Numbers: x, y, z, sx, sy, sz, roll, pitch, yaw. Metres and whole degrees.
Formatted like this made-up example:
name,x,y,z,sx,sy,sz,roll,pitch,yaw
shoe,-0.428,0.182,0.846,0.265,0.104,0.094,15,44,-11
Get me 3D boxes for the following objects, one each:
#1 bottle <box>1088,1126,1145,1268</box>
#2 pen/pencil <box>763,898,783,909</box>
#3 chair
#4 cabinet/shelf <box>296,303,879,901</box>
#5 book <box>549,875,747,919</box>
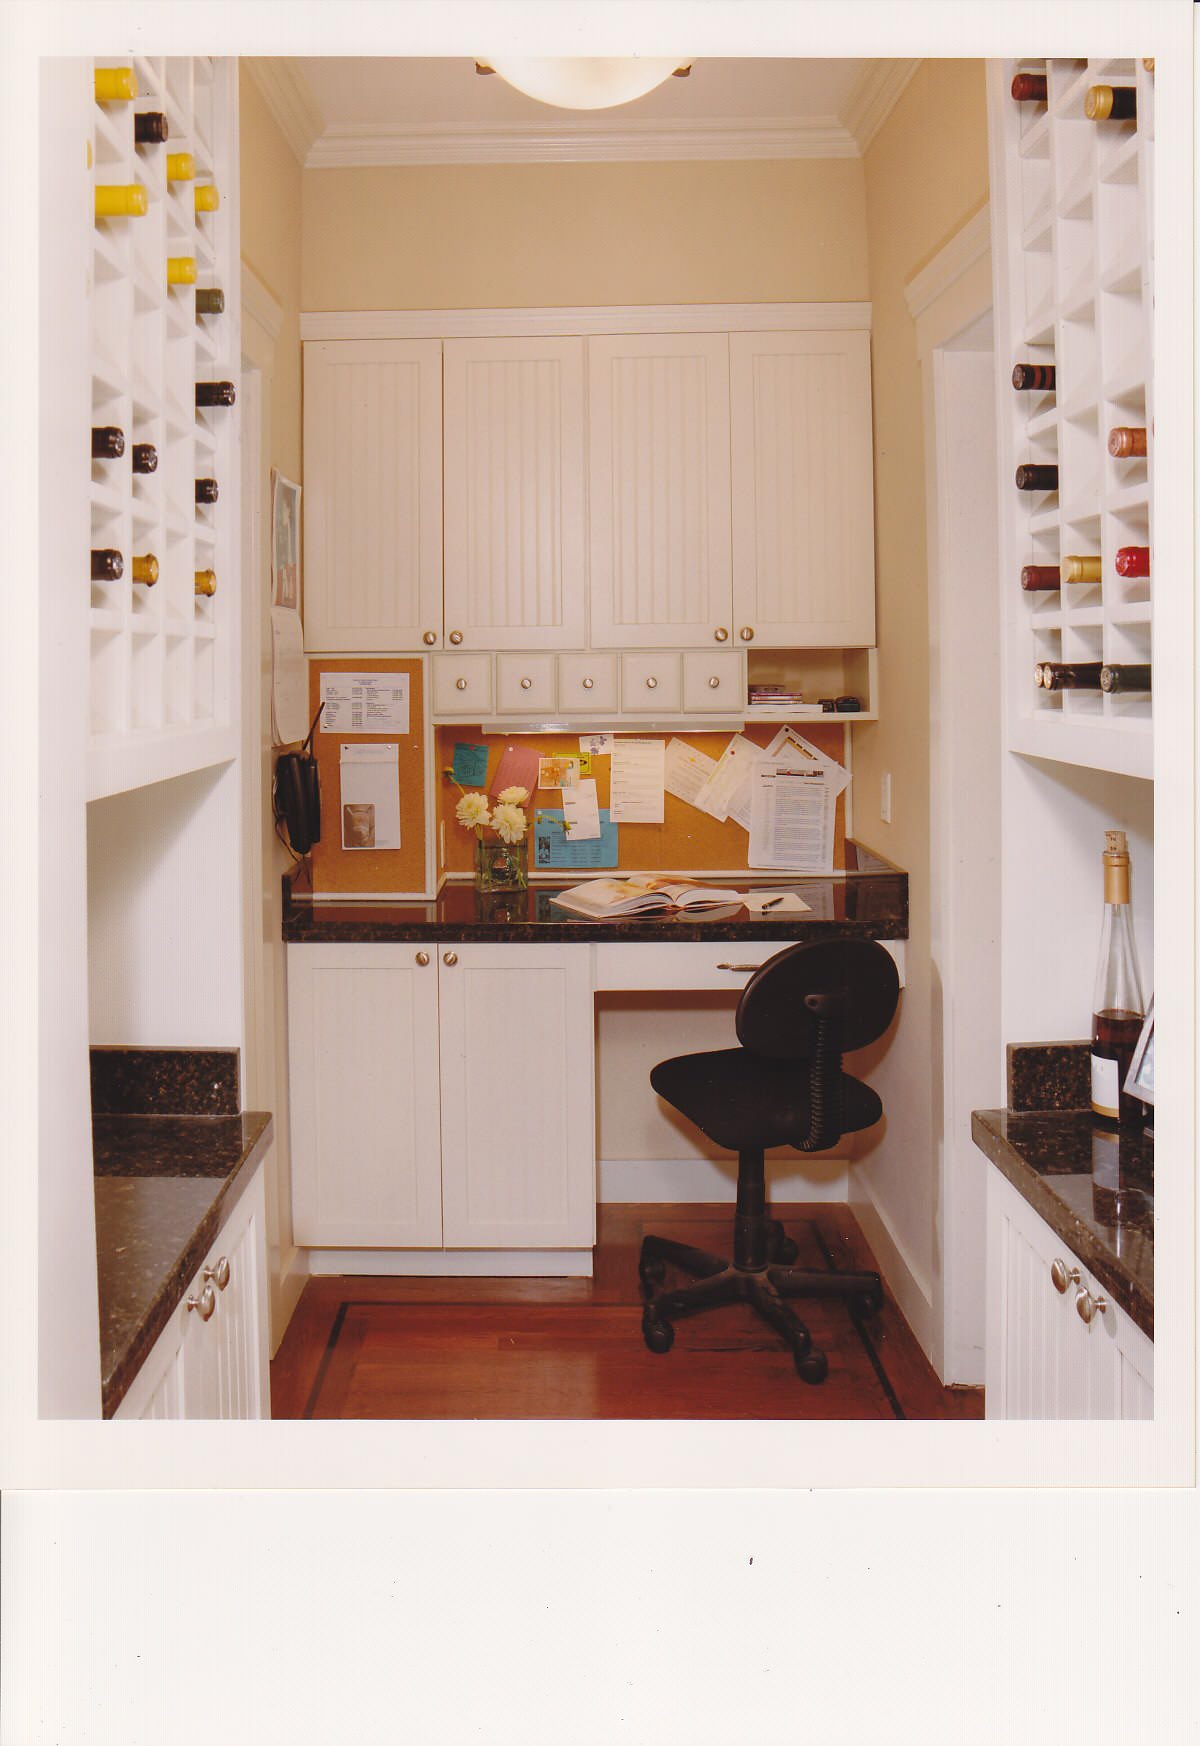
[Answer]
name,x,y,z,sx,sy,sz,roll,pitch,yaw
bottle,0.516,0.332,1.431,0.031,0.142,0.031,-3,-16,-1
pen/pencil,0.390,0.058,3.109,0.017,0.014,0.102,7,14,21
chair,0.321,0.512,2.818,0.462,0.875,0.496,-2,10,-30
cabinet/shelf,-0.040,-0.674,3.212,1.155,0.910,0.239,-1,-1,0
book,0.114,0.052,3.134,0.432,0.047,0.403,-3,11,-4
